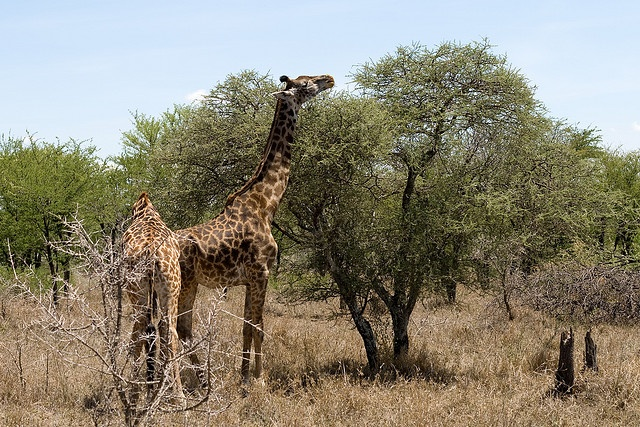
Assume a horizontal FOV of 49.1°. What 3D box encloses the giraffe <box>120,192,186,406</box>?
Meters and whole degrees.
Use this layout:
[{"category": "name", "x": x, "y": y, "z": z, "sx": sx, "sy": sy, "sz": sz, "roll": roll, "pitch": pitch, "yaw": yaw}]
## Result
[{"category": "giraffe", "x": -3.835, "y": 1.875, "z": 16.010, "sx": 1.319, "sy": 4.967, "sz": 2.017, "roll": 0, "pitch": -6, "yaw": -16}]
